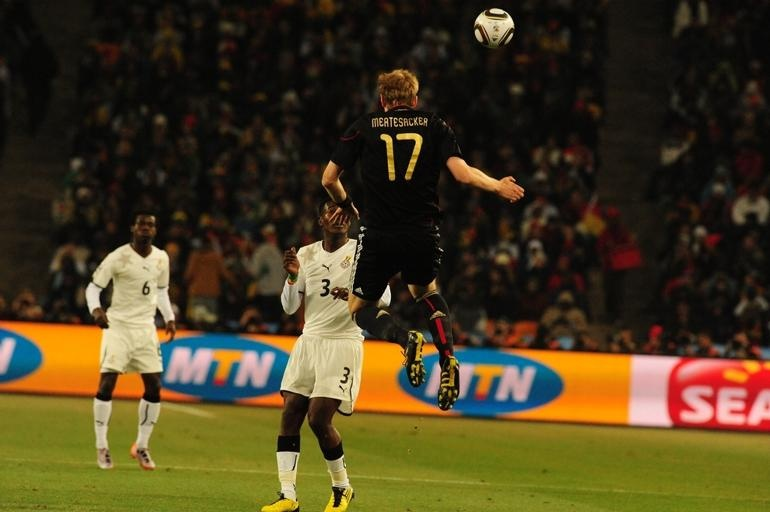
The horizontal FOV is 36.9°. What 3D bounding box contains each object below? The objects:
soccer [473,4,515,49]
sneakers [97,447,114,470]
[{"bbox_3d":[1.660,-3.500,17.689,0.552,0.630,0.344,4,-5,2],"label":"soccer"},{"bbox_3d":[-3.866,2.726,15.887,0.229,0.284,0.372,5,-5,-14],"label":"sneakers"}]
